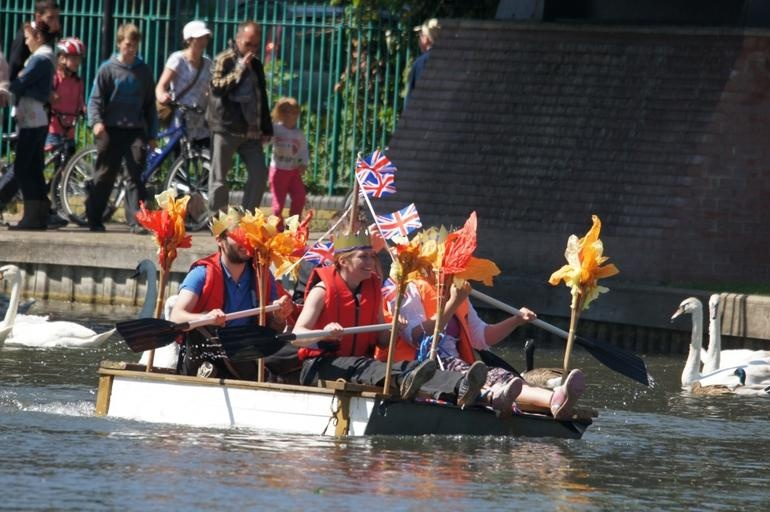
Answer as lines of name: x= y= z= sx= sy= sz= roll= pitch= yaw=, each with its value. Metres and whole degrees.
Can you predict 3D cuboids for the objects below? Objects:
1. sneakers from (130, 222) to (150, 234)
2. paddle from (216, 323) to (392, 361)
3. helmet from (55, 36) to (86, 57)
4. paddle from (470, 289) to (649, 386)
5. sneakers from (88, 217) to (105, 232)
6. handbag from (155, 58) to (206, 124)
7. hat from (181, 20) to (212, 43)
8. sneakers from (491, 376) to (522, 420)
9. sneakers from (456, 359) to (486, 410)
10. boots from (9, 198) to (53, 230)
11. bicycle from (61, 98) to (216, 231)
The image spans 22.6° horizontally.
sneakers: x=-3.184 y=-0.353 z=24.470 sx=0.155 sy=0.059 sz=0.226 roll=5 pitch=4 yaw=-25
paddle: x=-0.939 y=0.835 z=18.425 sx=1.403 sy=0.408 sz=0.290 roll=4 pitch=2 yaw=-15
helmet: x=-4.109 y=-2.736 z=24.729 sx=0.207 sy=0.178 sz=0.293 roll=2 pitch=1 yaw=-43
paddle: x=1.957 y=0.896 z=20.846 sx=1.942 sy=0.087 sz=0.286 roll=25 pitch=28 yaw=-10
sneakers: x=-3.728 y=-0.402 z=24.608 sx=0.113 sy=0.266 sz=0.237 roll=2 pitch=9 yaw=12
handbag: x=-2.665 y=-2.110 z=24.156 sx=0.540 sy=0.739 sz=1.398 roll=3 pitch=3 yaw=-15
hat: x=-2.325 y=-2.793 z=23.456 sx=0.288 sy=0.263 sz=0.468 roll=3 pitch=3 yaw=-23
sneakers: x=1.155 y=1.364 z=18.405 sx=0.182 sy=0.460 sz=0.190 roll=26 pitch=21 yaw=0
sneakers: x=0.799 y=1.239 z=18.274 sx=0.186 sy=0.479 sz=0.191 roll=11 pitch=16 yaw=-37
boots: x=-4.499 y=-0.536 z=24.274 sx=0.553 sy=0.402 sz=0.354 roll=3 pitch=3 yaw=-34
bicycle: x=-3.184 y=-1.108 z=24.749 sx=2.282 sy=1.659 sz=1.213 roll=3 pitch=-8 yaw=15
